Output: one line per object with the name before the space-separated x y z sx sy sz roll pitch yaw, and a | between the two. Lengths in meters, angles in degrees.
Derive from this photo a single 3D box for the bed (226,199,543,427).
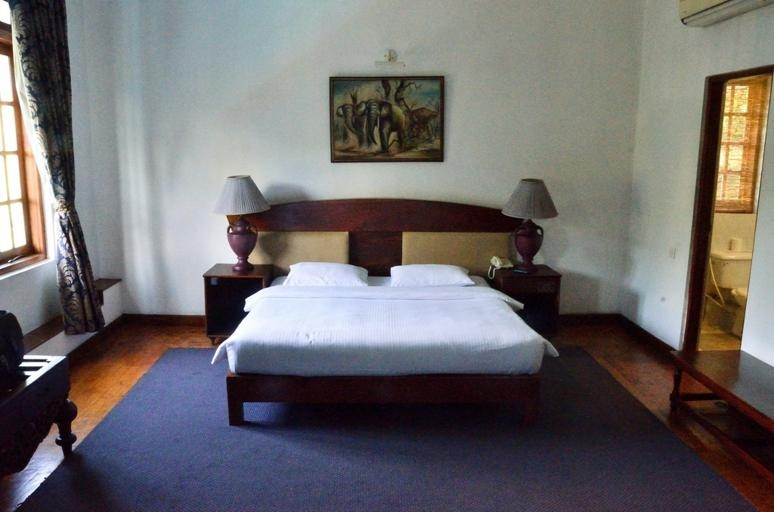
bed | -0.026 0.765 5.456 2.457 1.406 2.165 0 12 0

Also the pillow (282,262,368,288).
pillow | -0.593 0.196 5.590 0.479 0.114 0.373 1 14 -3

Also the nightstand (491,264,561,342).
nightstand | 1.489 0.357 6.074 0.980 0.895 0.700 0 8 0

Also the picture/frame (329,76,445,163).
picture/frame | 0.005 -1.482 5.908 0.881 0.619 0.034 -1 10 1

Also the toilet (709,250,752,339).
toilet | 3.672 0.375 6.081 0.364 0.771 0.665 8 16 29
